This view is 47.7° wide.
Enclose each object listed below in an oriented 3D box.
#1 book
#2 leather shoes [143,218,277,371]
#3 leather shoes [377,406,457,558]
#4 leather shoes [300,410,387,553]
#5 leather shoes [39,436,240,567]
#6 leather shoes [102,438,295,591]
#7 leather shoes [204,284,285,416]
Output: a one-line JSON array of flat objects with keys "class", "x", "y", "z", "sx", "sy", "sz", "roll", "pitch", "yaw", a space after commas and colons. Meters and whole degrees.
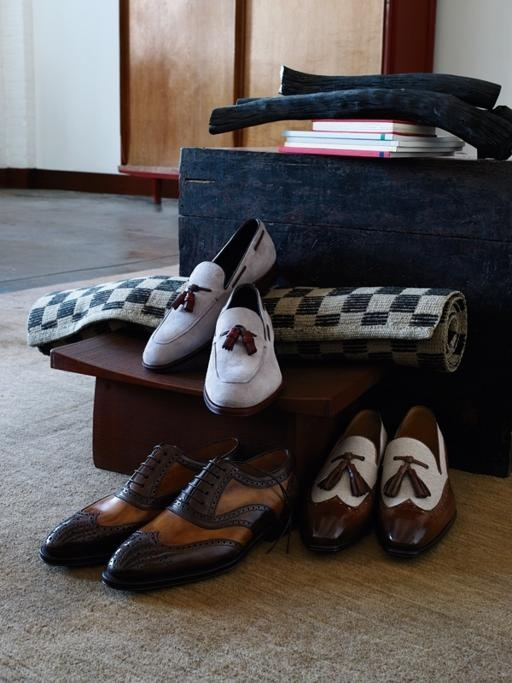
[{"class": "book", "x": 0.180, "y": -0.315, "z": 0.915, "sx": 0.286, "sy": 0.064, "sz": 0.170, "roll": 3, "pitch": 9, "yaw": 7}, {"class": "leather shoes", "x": -0.048, "y": -0.081, "z": 0.884, "sx": 0.110, "sy": 0.088, "sz": 0.331, "roll": 23, "pitch": 58, "yaw": 32}, {"class": "leather shoes", "x": 0.206, "y": 0.160, "z": 0.732, "sx": 0.087, "sy": 0.073, "sz": 0.268, "roll": 1, "pitch": 19, "yaw": 21}, {"class": "leather shoes", "x": 0.119, "y": 0.161, "z": 0.729, "sx": 0.078, "sy": 0.067, "sz": 0.246, "roll": 1, "pitch": 23, "yaw": 24}, {"class": "leather shoes", "x": -0.128, "y": 0.167, "z": 0.665, "sx": 0.086, "sy": 0.088, "sz": 0.267, "roll": 26, "pitch": 23, "yaw": 32}, {"class": "leather shoes", "x": -0.045, "y": 0.180, "z": 0.614, "sx": 0.098, "sy": 0.090, "sz": 0.239, "roll": 16, "pitch": 18, "yaw": 39}, {"class": "leather shoes", "x": -0.014, "y": 0.000, "z": 0.725, "sx": 0.094, "sy": 0.065, "sz": 0.238, "roll": 1, "pitch": 31, "yaw": 1}]
